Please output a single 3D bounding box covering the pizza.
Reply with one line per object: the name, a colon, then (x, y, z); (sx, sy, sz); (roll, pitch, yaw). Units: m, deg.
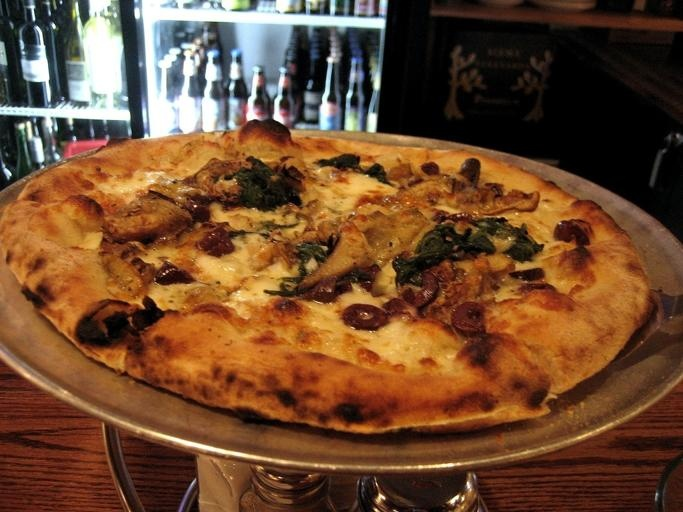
pizza: (0.004, -0.039, 2.050); (1.844, 0.372, 1.775); (-15, 29, -34)
